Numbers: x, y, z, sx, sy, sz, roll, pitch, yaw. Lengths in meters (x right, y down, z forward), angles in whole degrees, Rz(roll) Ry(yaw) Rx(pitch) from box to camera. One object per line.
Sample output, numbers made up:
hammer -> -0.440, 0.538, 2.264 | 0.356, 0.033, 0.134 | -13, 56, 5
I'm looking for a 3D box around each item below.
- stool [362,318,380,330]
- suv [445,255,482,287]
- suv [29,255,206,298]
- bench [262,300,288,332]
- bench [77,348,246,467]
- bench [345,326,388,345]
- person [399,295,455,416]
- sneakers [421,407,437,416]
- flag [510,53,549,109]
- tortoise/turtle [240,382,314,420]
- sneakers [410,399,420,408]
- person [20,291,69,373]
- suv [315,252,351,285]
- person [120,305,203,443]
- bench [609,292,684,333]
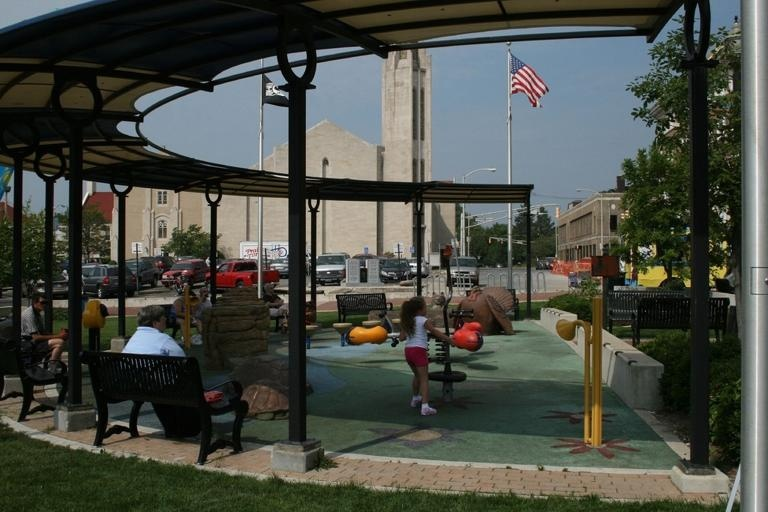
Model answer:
stool -> -0.327, 1.742, 22.560 | 0.589, 0.268, 0.582 | 1, -3, -18
suv -> 4.713, 0.857, 50.579 | 1.498, 1.291, 3.072 | -1, -4, 8
suv -> -11.888, 0.990, 39.787 | 3.065, 2.031, 8.998 | -1, -2, -32
bench -> -2.884, 1.561, 23.074 | 0.719, 0.907, 1.104 | 2, -2, -30
bench -> -3.400, 2.225, 13.235 | 2.421, 1.276, 0.812 | -3, -1, 25
bench -> -0.270, 1.352, 14.799 | 0.486, 0.241, 0.358 | -1, -6, 11
person -> 0.657, 1.688, 15.158 | 0.836, 2.038, 1.002 | -2, -1, -7
sneakers -> 0.775, 2.639, 14.853 | 0.250, 0.158, 0.139 | -3, 0, 8
flag -> 6.141, -7.385, 36.701 | 1.751, 2.258, 0.219 | 10, 35, 20
tortoise/turtle -> -2.031, 2.478, 14.883 | 0.773, 0.481, 0.388 | -3, -1, -2
sneakers -> 0.549, 2.579, 15.323 | 0.099, 0.131, 0.196 | -3, -10, 19
person -> -6.663, 1.517, 17.054 | 0.950, 1.548, 0.624 | 1, 10, -4
suv -> -3.137, 0.773, 53.597 | 1.339, 1.297, 2.583 | -1, -2, 7
person -> -3.476, 1.745, 13.671 | 0.857, 1.893, 1.014 | -11, 5, 29
bench -> 7.532, 1.800, 25.144 | 2.954, 1.524, 1.797 | -2, -1, 14
